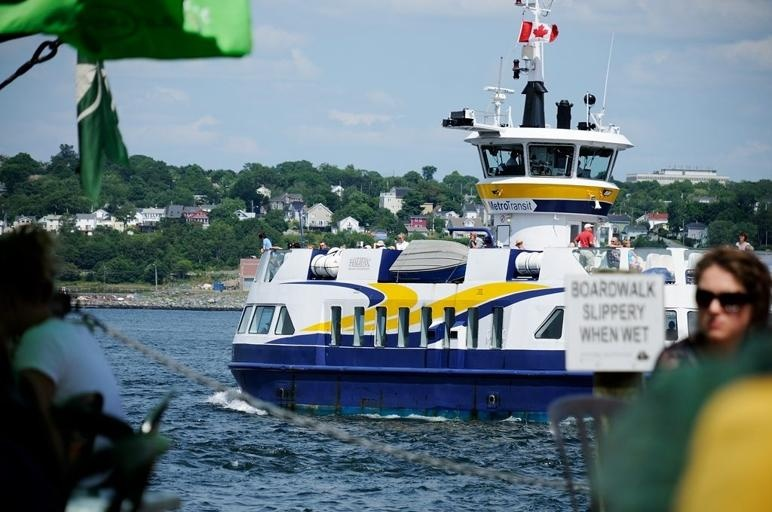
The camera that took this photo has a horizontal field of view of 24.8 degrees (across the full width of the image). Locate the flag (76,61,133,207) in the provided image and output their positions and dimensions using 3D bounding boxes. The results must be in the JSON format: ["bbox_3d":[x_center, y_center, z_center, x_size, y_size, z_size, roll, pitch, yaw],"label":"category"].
[{"bbox_3d":[-3.531,-1.575,21.633,0.612,1.888,0.711,-5,7,-14],"label":"flag"}]

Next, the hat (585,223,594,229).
[{"bbox_3d":[4.239,-0.611,36.677,0.143,0.102,0.196,-2,-1,-31],"label":"hat"}]
